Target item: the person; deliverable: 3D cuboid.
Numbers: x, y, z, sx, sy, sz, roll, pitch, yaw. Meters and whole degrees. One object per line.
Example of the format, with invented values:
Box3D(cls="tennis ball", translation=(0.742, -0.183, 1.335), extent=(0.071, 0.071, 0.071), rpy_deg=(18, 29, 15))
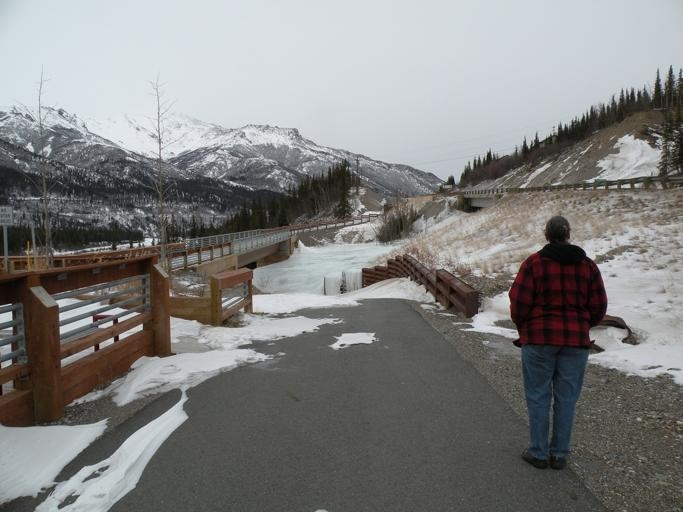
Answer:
Box3D(cls="person", translation=(2.233, 1.015, 4.740), extent=(0.866, 2.288, 0.512), rpy_deg=(-1, 8, -9))
